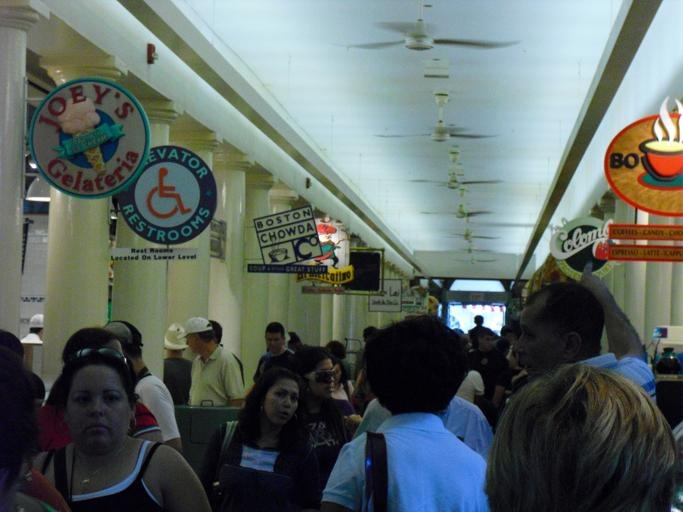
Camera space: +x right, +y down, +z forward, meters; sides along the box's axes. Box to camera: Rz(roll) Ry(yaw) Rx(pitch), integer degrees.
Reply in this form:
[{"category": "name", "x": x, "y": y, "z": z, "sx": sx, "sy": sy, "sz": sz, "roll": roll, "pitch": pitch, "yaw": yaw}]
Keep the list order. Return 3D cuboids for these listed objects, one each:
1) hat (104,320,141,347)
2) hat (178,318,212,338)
[{"category": "hat", "x": -1.351, "y": 0.484, "z": 3.998, "sx": 0.199, "sy": 0.158, "sz": 0.543, "roll": 2, "pitch": -6, "yaw": -20}, {"category": "hat", "x": -1.716, "y": 0.805, "z": 7.438, "sx": 0.385, "sy": 0.211, "sz": 0.265, "roll": 0, "pitch": 0, "yaw": 11}]
